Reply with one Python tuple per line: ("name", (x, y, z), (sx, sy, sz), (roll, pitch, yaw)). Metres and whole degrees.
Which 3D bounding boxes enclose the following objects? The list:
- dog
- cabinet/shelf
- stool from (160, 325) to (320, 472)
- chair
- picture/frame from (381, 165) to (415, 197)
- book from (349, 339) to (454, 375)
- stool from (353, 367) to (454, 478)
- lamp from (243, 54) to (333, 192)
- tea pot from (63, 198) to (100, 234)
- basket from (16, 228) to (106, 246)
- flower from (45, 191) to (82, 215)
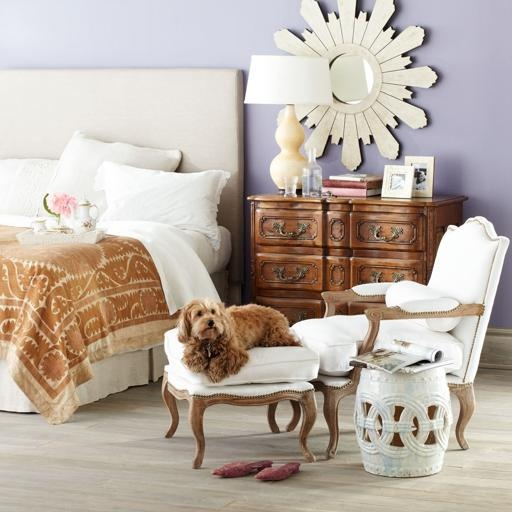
("dog", (-0.059, 0.275, 2.043), (0.200, 0.272, 0.435), (2, 4, 44))
("cabinet/shelf", (0.459, 0.056, 3.589), (1.052, 0.758, 0.371), (-2, 16, -4))
("stool", (-0.095, 0.484, 2.211), (0.594, 0.367, 0.515), (1, -2, -12))
("chair", (0.298, 0.253, 2.648), (1.094, 1.015, 0.889), (1, 1, -5))
("picture/frame", (0.826, -0.429, 3.404), (0.257, 0.232, 0.030), (4, -19, 30))
("book", (0.460, 0.326, 1.899), (0.188, 0.038, 0.157), (-1, 2, -20))
("stool", (0.434, 0.555, 2.006), (0.387, 0.302, 0.348), (1, -11, 16))
("lamp", (0.201, -0.842, 3.642), (0.525, 0.851, 0.389), (-2, 3, -1))
("tea pot", (-0.926, -0.207, 3.110), (0.144, 0.177, 0.149), (6, 16, -2))
("basket", (-0.983, -0.096, 2.982), (0.409, 0.070, 0.119), (-1, 2, -11))
("flower", (-1.003, -0.263, 3.121), (0.193, 0.123, 0.183), (2, 0, -36))
